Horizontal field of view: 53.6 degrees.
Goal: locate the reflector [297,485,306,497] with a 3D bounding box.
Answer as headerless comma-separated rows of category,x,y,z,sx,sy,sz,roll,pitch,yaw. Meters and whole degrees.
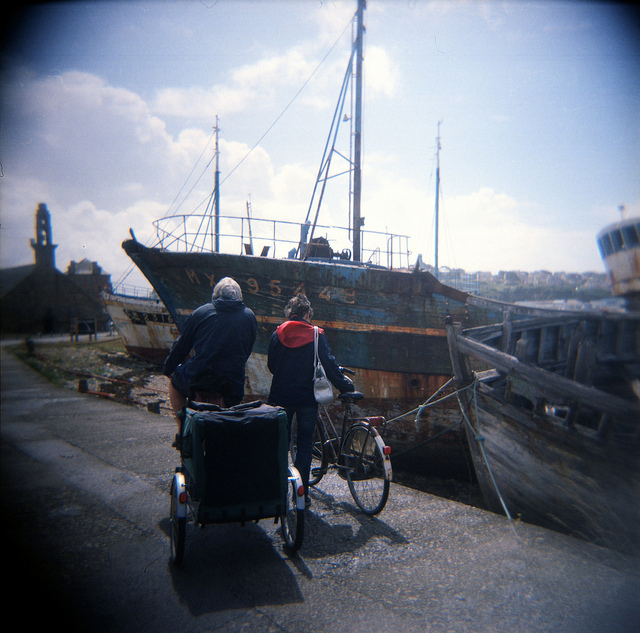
reflector,-0.140,1.249,4.533,0.040,0.065,0.052,2,8,7

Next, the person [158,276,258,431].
person,-0.907,0.459,5.101,0.571,1.560,0.731,17,-24,-35

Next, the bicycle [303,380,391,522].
bicycle,0.147,1.109,5.809,0.544,1.190,1.484,-7,5,-33

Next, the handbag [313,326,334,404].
handbag,0.012,0.409,5.239,0.161,0.598,0.337,-2,8,-18

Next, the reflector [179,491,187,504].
reflector,-0.938,1.242,4.355,0.055,0.124,0.054,1,2,-7

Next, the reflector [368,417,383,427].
reflector,0.472,0.889,5.370,0.112,0.100,0.117,2,9,6

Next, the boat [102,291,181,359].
boat,-5.890,0.305,20.866,1.186,2.330,4.496,4,11,-35
